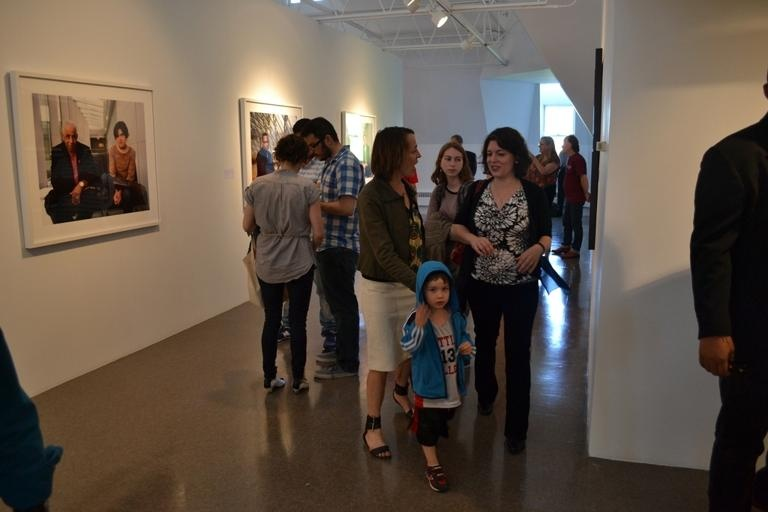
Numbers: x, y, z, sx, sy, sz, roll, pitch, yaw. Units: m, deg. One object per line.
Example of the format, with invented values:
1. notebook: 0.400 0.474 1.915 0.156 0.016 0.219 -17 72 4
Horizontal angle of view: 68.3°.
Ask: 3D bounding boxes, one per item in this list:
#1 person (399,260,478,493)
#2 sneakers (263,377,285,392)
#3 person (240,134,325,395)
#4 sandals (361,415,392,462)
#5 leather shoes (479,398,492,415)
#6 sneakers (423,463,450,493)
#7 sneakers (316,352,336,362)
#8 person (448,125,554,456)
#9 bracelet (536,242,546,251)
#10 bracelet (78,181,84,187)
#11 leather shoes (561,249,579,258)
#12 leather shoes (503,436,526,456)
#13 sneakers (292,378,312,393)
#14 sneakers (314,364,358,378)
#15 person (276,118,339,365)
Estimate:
1. person: 0.354 0.755 3.710 0.367 1.436 0.396 8 14 34
2. sneakers: -0.943 1.114 4.954 0.077 0.099 0.194 11 16 34
3. person: -0.823 0.092 4.748 0.631 2.143 0.336 -3 12 -11
4. sandals: -0.062 1.278 4.063 0.122 0.263 0.373 -6 9 -25
5. leather shoes: 0.802 1.190 4.466 0.134 0.145 0.087 2 8 17
6. sneakers: 0.352 1.446 3.677 0.086 0.085 0.187 -1 5 -20
7. sneakers: -0.551 0.959 5.438 0.172 0.082 0.085 4 4 9
8. person: 0.823 0.236 3.954 0.679 2.170 0.786 -9 9 -33
9. bracelet: 1.068 -0.059 3.835 0.049 0.049 0.045 5 14 20
10. bracelet: -2.742 -0.658 5.150 0.040 0.028 0.038 6 -7 -34
11. leather shoes: 3.313 -0.037 10.064 0.343 0.159 0.127 1 39 -15
12. leather shoes: 0.927 1.349 3.998 0.104 0.131 0.122 -1 -6 7
13. sneakers: -0.711 1.119 4.911 0.074 0.102 0.161 9 22 22
14. sneakers: -0.437 1.061 5.152 0.369 0.163 0.146 3 1 -3
15. person: -0.732 -0.110 5.602 0.719 2.638 0.741 8 29 5
